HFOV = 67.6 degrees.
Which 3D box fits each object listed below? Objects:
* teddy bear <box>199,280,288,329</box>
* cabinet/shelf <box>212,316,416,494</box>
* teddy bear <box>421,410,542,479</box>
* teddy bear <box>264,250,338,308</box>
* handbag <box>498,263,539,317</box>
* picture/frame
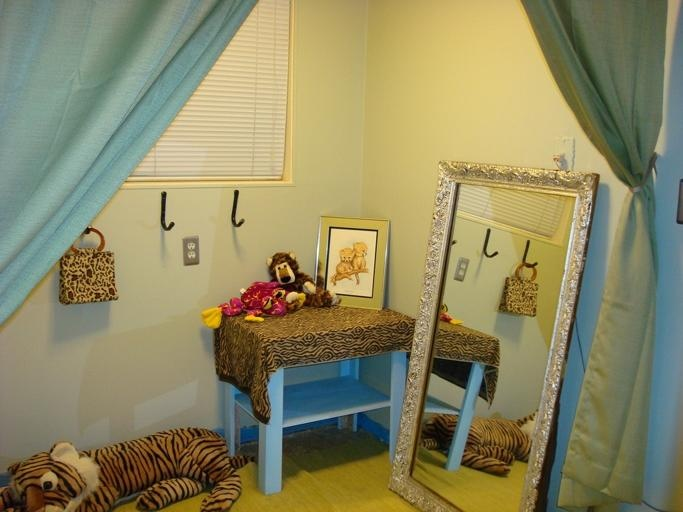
[{"bbox_3d":[-0.448,0.235,2.453,0.296,0.135,0.236,-15,19,-41],"label":"teddy bear"},{"bbox_3d":[-0.182,0.486,2.593,1.074,0.905,0.705,-4,12,-30],"label":"cabinet/shelf"},{"bbox_3d":[0.507,0.713,1.941,0.301,0.171,0.212,4,-29,13],"label":"teddy bear"},{"bbox_3d":[-0.202,0.117,2.655,0.312,0.259,0.263,21,36,31],"label":"teddy bear"},{"bbox_3d":[0.638,0.120,1.824,0.129,0.207,0.068,13,23,27],"label":"handbag"},{"bbox_3d":[0.056,0.046,2.643,0.420,0.565,0.038,3,-4,10],"label":"picture/frame"}]
